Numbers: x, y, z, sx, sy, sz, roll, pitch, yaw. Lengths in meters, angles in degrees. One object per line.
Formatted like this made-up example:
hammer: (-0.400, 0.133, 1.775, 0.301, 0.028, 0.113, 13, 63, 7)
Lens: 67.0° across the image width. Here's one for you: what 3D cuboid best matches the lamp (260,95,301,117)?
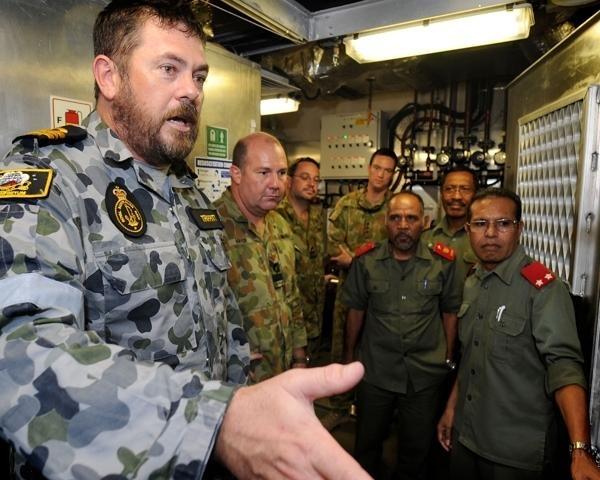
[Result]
lamp: (-0.189, -1.383, 4.688, 0.446, 0.116, 0.450, 4, 8, 27)
